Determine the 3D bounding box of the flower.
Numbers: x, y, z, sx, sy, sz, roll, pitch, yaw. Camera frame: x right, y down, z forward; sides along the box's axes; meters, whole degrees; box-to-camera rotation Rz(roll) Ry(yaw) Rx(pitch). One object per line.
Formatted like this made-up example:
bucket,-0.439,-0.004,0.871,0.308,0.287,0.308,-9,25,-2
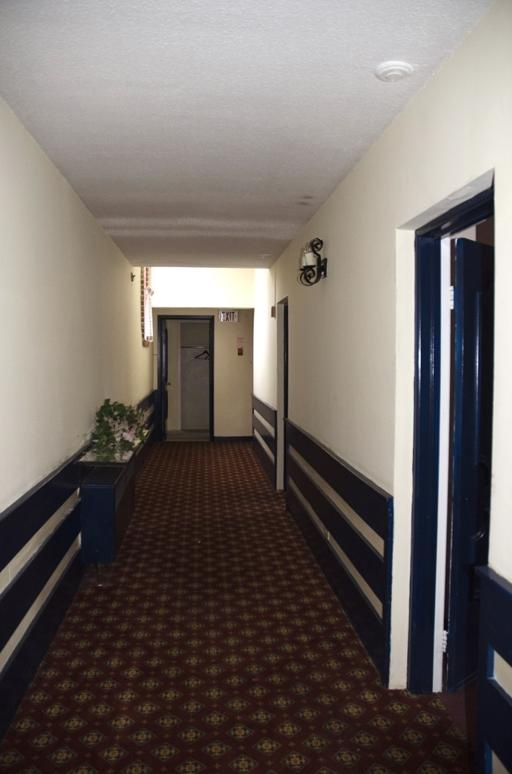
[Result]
flower,-1.044,0.301,3.708,0.269,0.152,0.436,-9,21,-41

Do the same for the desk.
desk,-1.023,0.844,3.489,0.246,0.757,0.921,0,0,-9
